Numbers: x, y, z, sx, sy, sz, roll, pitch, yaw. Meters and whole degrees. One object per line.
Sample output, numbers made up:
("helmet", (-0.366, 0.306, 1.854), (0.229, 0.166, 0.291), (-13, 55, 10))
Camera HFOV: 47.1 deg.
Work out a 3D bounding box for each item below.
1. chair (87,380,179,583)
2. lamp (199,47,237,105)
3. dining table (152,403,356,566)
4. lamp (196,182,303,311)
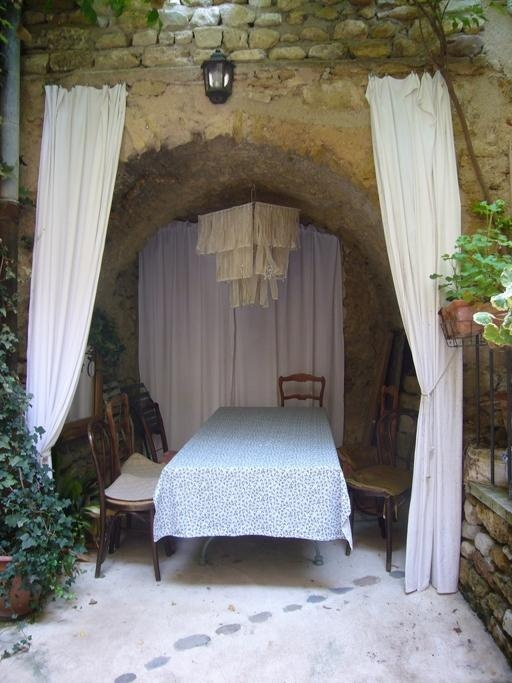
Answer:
("chair", (-0.781, 0.864, 3.592), (0.370, 0.828, 0.891), (0, 6, -3))
("lamp", (-0.181, -1.415, 3.197), (0.222, 0.352, 0.233), (1, 10, 8))
("dining table", (0.003, 0.902, 3.344), (1.016, 0.702, 1.265), (0, 3, 7))
("lamp", (-0.036, -0.598, 4.182), (0.621, 0.678, 0.505), (2, 5, 41))
